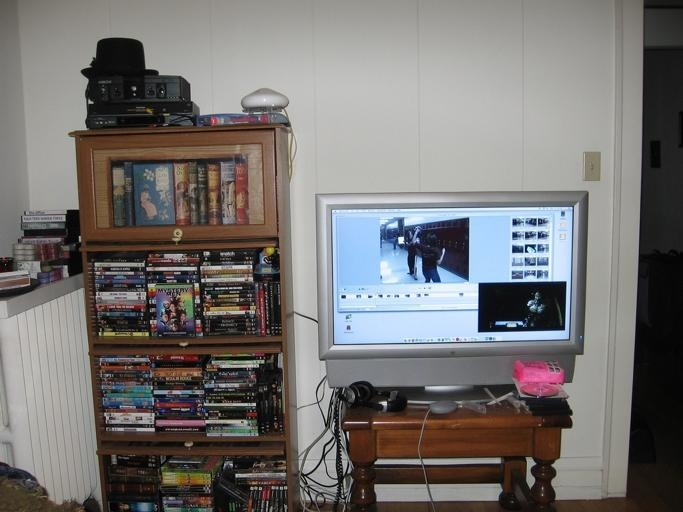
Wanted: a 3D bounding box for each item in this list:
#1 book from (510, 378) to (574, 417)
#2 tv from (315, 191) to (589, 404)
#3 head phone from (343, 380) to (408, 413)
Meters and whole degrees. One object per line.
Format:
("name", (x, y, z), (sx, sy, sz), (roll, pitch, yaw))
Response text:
("book", (0.964, 0.676, 3.386), (0.232, 0.119, 0.217), (-1, 8, 6))
("tv", (0.533, 0.179, 3.477), (1.126, 0.768, 0.283), (0, 0, -1))
("head phone", (0.163, 0.683, 3.403), (0.215, 0.074, 0.168), (3, 4, 14))
